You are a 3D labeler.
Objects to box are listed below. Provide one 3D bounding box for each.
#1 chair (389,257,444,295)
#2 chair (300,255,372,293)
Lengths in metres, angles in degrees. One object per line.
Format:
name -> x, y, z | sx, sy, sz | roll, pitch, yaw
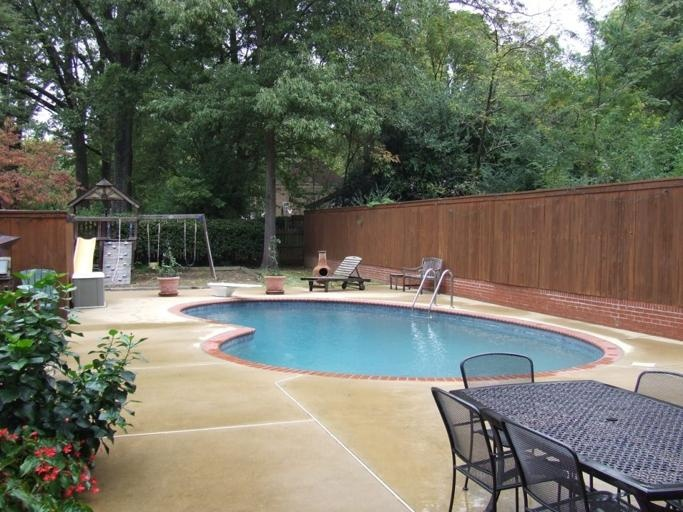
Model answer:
chair -> 2.093, 0.577, 15.518 | 0.746, 1.051, 2.001 | 7, -1, 1
chair -> -0.180, 0.545, 15.859 | 1.869, 1.030, 1.014 | 1, 1, -36
